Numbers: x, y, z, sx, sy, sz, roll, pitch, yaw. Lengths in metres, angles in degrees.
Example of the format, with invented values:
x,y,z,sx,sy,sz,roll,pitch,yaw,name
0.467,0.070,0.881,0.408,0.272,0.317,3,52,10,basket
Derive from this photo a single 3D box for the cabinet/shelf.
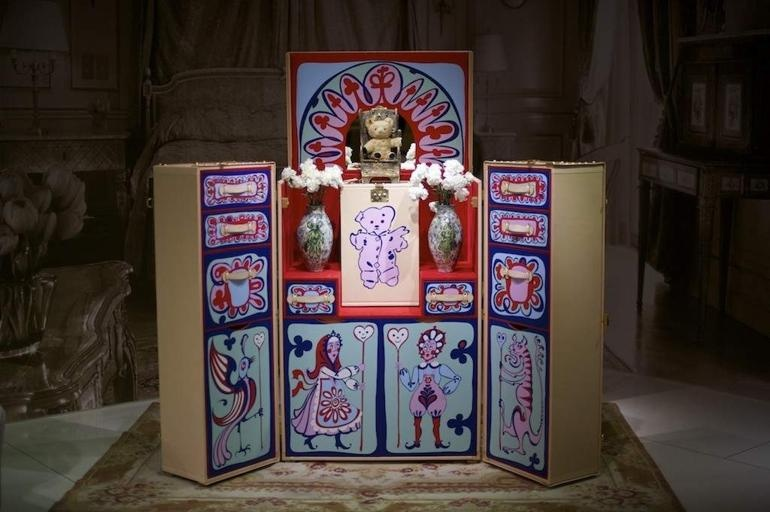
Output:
x,y,z,sx,sy,sz,roll,pitch,yaw,name
-0.065,0.184,4.651,2.770,3.052,1.453,0,5,-2,cabinet/shelf

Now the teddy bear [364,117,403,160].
x,y,z,sx,sy,sz,roll,pitch,yaw,name
-0.028,-0.846,4.796,0.300,0.439,0.274,0,9,-7,teddy bear
